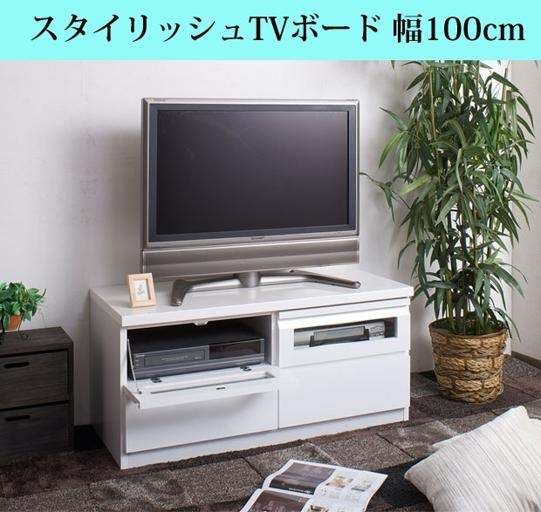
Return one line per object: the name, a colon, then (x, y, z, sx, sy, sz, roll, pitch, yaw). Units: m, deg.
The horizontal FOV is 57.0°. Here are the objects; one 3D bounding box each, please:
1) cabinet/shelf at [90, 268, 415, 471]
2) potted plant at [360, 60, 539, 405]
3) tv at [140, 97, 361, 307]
cabinet/shelf: (-0.045, 0.451, 2.260, 1.326, 0.665, 0.653, -2, 6, -31)
potted plant: (1.074, -0.192, 2.723, 1.086, 1.854, 0.718, -2, 6, -27)
tv: (-0.111, -0.250, 2.153, 0.923, 0.766, 0.363, -3, 6, -24)
